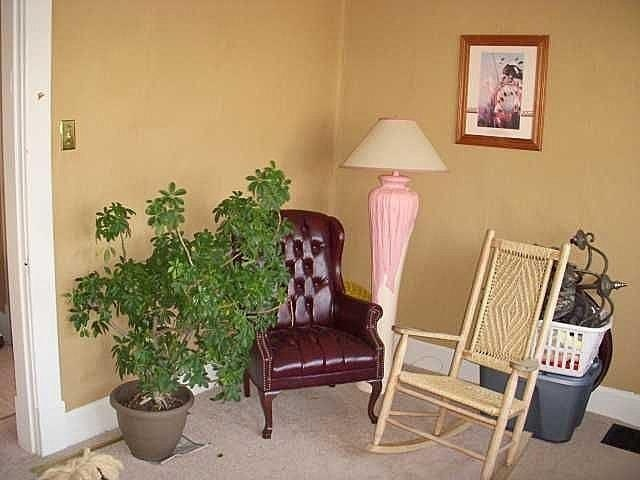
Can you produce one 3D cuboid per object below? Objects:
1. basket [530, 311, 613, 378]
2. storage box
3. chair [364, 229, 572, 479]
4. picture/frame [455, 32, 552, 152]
[{"bbox_3d":[1.563,0.679,3.040,0.339,0.240,0.461,6,-13,32],"label":"basket"},{"bbox_3d":[1.490,1.055,3.438,0.725,0.533,0.542,8,12,41],"label":"storage box"},{"bbox_3d":[0.935,0.671,3.055,0.916,1.399,0.938,10,15,31],"label":"chair"},{"bbox_3d":[1.393,-1.125,3.648,0.813,1.068,0.073,6,10,31],"label":"picture/frame"}]
